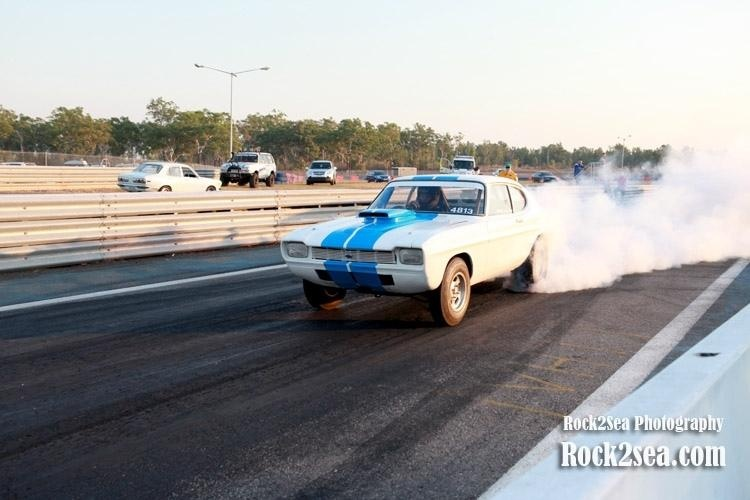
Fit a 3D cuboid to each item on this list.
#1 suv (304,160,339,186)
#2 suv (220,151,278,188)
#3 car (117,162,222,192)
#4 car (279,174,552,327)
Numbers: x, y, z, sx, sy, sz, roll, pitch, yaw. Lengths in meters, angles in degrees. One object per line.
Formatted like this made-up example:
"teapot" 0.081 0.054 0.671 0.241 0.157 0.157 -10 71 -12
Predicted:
"suv" -4.370 -6.714 42.276 1.603 1.418 3.239 -1 1 7
"suv" -7.910 -5.135 31.545 2.063 1.823 3.598 1 3 18
"car" -9.620 -3.440 22.534 3.680 1.269 1.767 -4 11 -20
"car" 0.998 -0.139 7.132 1.922 1.424 3.644 -1 2 33
